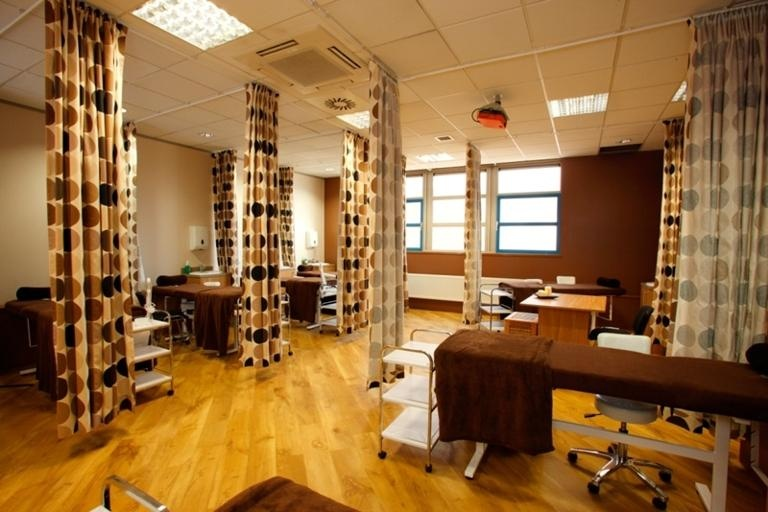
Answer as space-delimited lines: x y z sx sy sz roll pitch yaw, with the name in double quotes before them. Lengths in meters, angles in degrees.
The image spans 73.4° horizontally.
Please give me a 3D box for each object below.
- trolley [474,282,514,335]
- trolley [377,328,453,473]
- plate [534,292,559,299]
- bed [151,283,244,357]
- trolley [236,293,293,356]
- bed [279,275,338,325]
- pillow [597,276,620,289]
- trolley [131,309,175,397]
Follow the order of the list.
"trolley" 2.025 0.885 9.487 0.679 1.193 0.906 1 3 -1
"trolley" 0.408 1.521 5.577 0.641 1.111 0.841 -1 1 -44
"plate" 2.410 0.570 7.603 0.317 0.074 0.305 0 2 12
"bed" -2.722 0.857 7.632 1.416 0.712 1.006 3 5 32
"trolley" -1.973 1.149 8.757 0.804 1.185 0.774 -5 -10 3
"bed" -1.204 0.746 9.465 0.679 0.757 1.131 4 8 20
"pillow" 4.029 0.461 9.126 0.288 0.102 0.283 -1 3 -38
"trolley" -3.029 1.206 6.421 0.624 1.021 0.658 -4 1 -39
